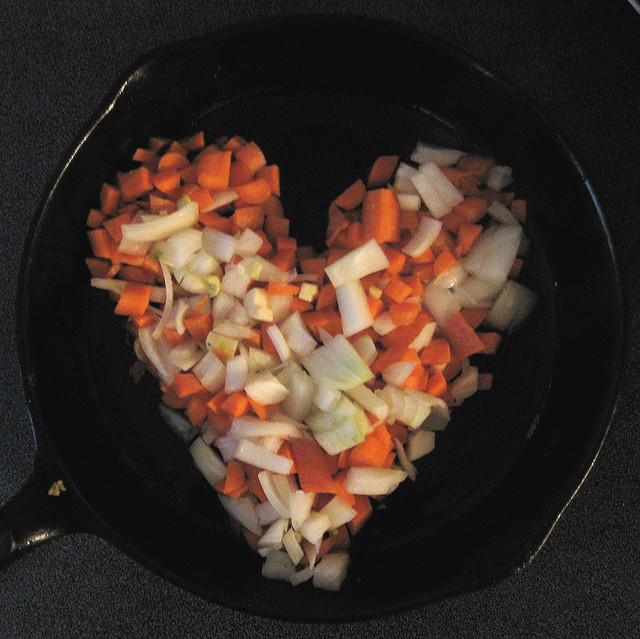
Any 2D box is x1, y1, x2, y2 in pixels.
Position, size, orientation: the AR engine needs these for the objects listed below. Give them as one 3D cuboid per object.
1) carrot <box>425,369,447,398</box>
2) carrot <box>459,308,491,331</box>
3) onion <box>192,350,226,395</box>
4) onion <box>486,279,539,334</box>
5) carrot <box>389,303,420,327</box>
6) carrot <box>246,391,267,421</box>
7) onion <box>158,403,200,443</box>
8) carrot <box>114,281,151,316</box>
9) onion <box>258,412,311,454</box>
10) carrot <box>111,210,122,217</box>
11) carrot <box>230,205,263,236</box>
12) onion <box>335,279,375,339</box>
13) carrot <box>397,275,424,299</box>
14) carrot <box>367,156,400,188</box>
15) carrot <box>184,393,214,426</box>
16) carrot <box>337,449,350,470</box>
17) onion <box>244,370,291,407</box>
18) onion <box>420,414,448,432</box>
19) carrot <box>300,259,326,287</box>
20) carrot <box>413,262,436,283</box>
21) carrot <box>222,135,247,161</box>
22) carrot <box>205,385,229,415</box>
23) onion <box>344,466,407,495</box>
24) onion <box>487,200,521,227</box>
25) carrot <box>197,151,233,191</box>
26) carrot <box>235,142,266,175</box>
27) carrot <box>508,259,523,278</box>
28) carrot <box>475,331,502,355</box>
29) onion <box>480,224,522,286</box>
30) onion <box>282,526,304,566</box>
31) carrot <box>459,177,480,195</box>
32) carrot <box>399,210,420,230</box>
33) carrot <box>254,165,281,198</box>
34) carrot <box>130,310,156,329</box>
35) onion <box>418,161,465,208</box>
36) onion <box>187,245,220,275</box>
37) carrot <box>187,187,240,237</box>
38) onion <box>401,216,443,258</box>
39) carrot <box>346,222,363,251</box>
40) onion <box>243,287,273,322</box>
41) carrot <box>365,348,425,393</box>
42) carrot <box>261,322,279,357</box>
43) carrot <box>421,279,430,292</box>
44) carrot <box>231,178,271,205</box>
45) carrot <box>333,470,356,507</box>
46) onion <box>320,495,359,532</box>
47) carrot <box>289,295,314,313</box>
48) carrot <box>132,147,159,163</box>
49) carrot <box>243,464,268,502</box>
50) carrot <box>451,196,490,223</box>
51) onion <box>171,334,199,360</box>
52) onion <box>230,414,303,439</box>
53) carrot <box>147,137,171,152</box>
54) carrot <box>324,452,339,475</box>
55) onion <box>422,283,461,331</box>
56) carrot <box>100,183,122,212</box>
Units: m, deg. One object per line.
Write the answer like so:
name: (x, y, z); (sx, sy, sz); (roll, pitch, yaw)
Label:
carrot: (0.235, 0.129, 1.513); (0.035, 0.049, 0.057); (3, 84, 6)
carrot: (0.321, -0.003, 1.558); (0.039, 0.015, 0.055); (-36, 77, -13)
onion: (-0.222, 0.105, 1.502); (0.050, 0.040, 0.075); (-31, 90, -9)
onion: (0.408, -0.028, 1.611); (0.071, 0.042, 0.080); (38, 88, -34)
carrot: (0.168, -0.012, 1.486); (0.058, 0.027, 0.046); (1, 86, 1)
carrot: (-0.119, 0.161, 1.461); (0.019, 0.036, 0.053); (-35, 100, -15)
onion: (-0.284, 0.215, 1.598); (0.089, 0.064, 0.024); (17, 64, 24)
carrot: (-0.375, -0.044, 1.503); (0.062, 0.033, 0.066); (11, 86, 1)
onion: (-0.081, 0.226, 1.463); (0.077, 0.028, 0.078); (36, 107, -10)
carrot: (-0.423, -0.221, 1.546); (0.012, 0.013, 0.014); (0, 110, 4)
carrot: (-0.151, -0.204, 1.522); (0.047, 0.027, 0.049); (-11, 106, -29)
onion: (0.071, -0.020, 1.480); (0.061, 0.028, 0.115); (-11, 84, -3)
carrot: (0.186, -0.063, 1.512); (0.041, 0.011, 0.048); (-6, 81, 37)
carrot: (0.136, -0.318, 1.589); (0.056, 0.019, 0.068); (7, 99, -18)
carrot: (-0.249, 0.178, 1.526); (0.043, 0.026, 0.074); (15, 106, -8)
carrot: (0.047, 0.275, 1.477); (0.009, 0.033, 0.039); (3, 110, 25)
onion: (-0.102, 0.138, 1.462); (0.076, 0.046, 0.061); (40, 87, 3)
onion: (0.241, 0.218, 1.578); (0.040, 0.013, 0.042); (37, 99, -17)
carrot: (-0.018, -0.100, 1.522); (0.047, 0.013, 0.054); (6, 102, 25)
carrot: (0.215, -0.100, 1.536); (0.034, 0.011, 0.039); (6, 101, -1)
carrot: (-0.181, -0.375, 1.591); (0.045, 0.015, 0.052); (24, 62, 4)
carrot: (-0.204, 0.160, 1.490); (0.030, 0.023, 0.065); (32, 88, 9)
onion: (0.106, 0.309, 1.478); (0.102, 0.039, 0.062); (-5, 91, -17)
onion: (0.390, -0.227, 1.598); (0.072, 0.019, 0.045); (38, 69, -14)
carrot: (-0.215, -0.299, 1.500); (0.066, 0.027, 0.080); (3, 86, 8)
carrot: (-0.141, -0.338, 1.550); (0.056, 0.021, 0.058); (-42, 93, -20)
carrot: (0.425, -0.113, 1.624); (0.029, 0.032, 0.034); (5, 110, -35)
carrot: (0.362, 0.046, 1.597); (0.044, 0.013, 0.051); (5, 94, -12)
onion: (0.378, -0.137, 1.564); (0.068, 0.039, 0.139); (24, 78, -11)
onion: (-0.055, 0.451, 1.493); (0.033, 0.019, 0.075); (-2, 101, 14)
carrot: (0.314, -0.287, 1.590); (0.028, 0.010, 0.045); (-23, 87, -20)
carrot: (0.183, -0.207, 1.543); (0.033, 0.011, 0.039); (-4, 78, 6)
carrot: (-0.110, -0.289, 1.563); (0.052, 0.016, 0.059); (-9, 104, 37)
carrot: (-0.357, -0.001, 1.521); (0.035, 0.028, 0.039); (16, 46, -24)
onion: (0.259, -0.272, 1.606); (0.059, 0.028, 0.124); (-31, 89, -19)
onion: (-0.234, -0.119, 1.495); (0.052, 0.018, 0.057); (8, 90, -9)
carrot: (-0.218, -0.201, 1.527); (0.034, 0.100, 0.106); (-18, 42, 4)
onion: (0.212, -0.172, 1.534); (0.045, 0.053, 0.113); (33, 87, 3)
carrot: (0.072, -0.172, 1.522); (0.044, 0.011, 0.051); (-18, 91, 0)
onion: (-0.124, -0.032, 1.484); (0.060, 0.033, 0.064); (2, 86, 1)
carrot: (0.151, 0.098, 1.482); (0.087, 0.037, 0.100); (-6, 82, 14)
carrot: (-0.107, 0.036, 1.501); (0.047, 0.014, 0.059); (-1, 102, 24)
carrot: (0.221, -0.076, 1.570); (0.014, 0.021, 0.019); (-18, 120, 22)
carrot: (-0.139, -0.259, 1.542); (0.073, 0.044, 0.047); (-18, 86, -1)
carrot: (0.046, 0.338, 1.478); (0.017, 0.057, 0.060); (-4, 111, -10)
onion: (0.039, 0.380, 1.488); (0.062, 0.018, 0.067); (37, 101, -5)
carrot: (-0.041, -0.031, 1.514); (0.040, 0.016, 0.030); (0, 102, -9)
carrot: (-0.359, -0.342, 1.551); (0.038, 0.010, 0.031); (-3, 115, -26)
carrot: (-0.121, 0.322, 1.516); (0.017, 0.063, 0.070); (-14, 106, -27)
carrot: (0.314, -0.232, 1.558); (0.073, 0.031, 0.050); (-26, 86, -1)
onion: (-0.272, 0.057, 1.515); (0.031, 0.019, 0.057); (38, 45, 0)
onion: (-0.104, 0.197, 1.489); (0.141, 0.040, 0.055); (5, 106, 6)
carrot: (-0.343, -0.369, 1.571); (0.042, 0.031, 0.027); (-8, 99, -14)
carrot: (0.023, 0.281, 1.475); (0.035, 0.010, 0.038); (-2, 94, -14)
onion: (0.246, -0.033, 1.544); (0.084, 0.025, 0.087); (41, 80, -8)
carrot: (-0.431, -0.253, 1.536); (0.040, 0.022, 0.038); (40, 123, 37)
